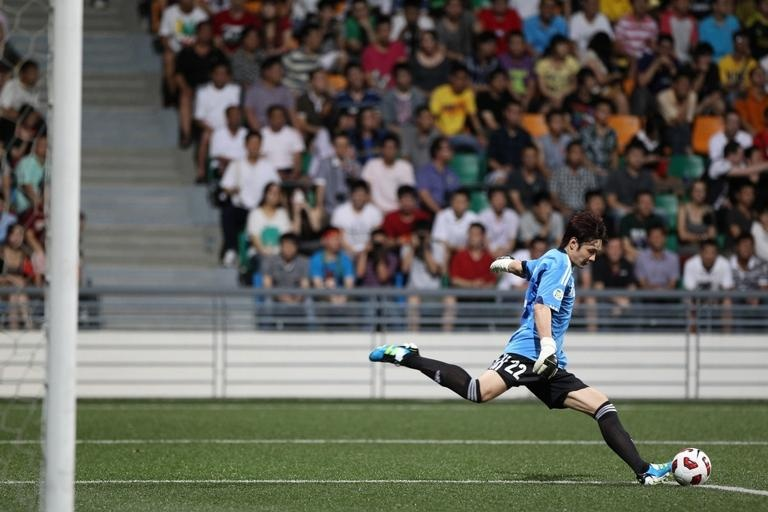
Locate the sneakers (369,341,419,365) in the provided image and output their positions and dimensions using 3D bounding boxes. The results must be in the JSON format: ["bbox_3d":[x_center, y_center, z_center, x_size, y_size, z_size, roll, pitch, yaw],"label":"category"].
[{"bbox_3d":[0.114,1.239,24.769,0.515,0.232,0.294,5,8,5],"label":"sneakers"}]

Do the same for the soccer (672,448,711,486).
[{"bbox_3d":[3.742,2.576,24.007,0.427,0.494,0.427,-17,-51,23],"label":"soccer"}]

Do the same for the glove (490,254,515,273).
[{"bbox_3d":[1.482,0.131,24.778,0.267,0.179,0.112,-8,-30,32],"label":"glove"}]

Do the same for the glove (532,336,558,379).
[{"bbox_3d":[1.931,1.178,23.967,0.321,0.412,0.426,22,-33,18],"label":"glove"}]
